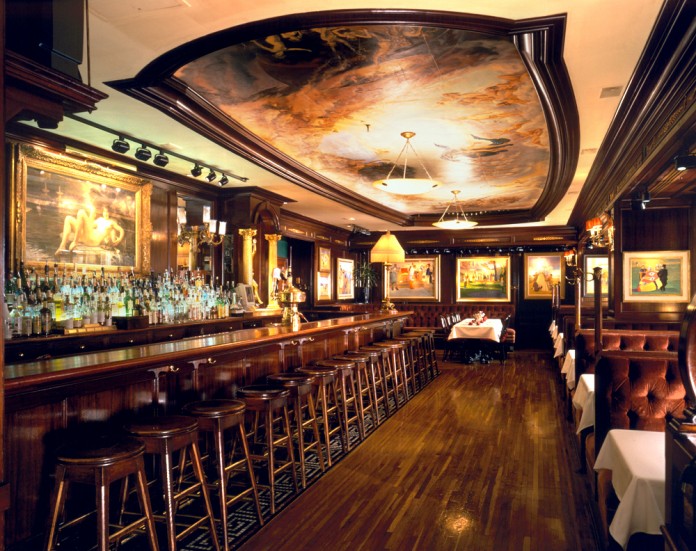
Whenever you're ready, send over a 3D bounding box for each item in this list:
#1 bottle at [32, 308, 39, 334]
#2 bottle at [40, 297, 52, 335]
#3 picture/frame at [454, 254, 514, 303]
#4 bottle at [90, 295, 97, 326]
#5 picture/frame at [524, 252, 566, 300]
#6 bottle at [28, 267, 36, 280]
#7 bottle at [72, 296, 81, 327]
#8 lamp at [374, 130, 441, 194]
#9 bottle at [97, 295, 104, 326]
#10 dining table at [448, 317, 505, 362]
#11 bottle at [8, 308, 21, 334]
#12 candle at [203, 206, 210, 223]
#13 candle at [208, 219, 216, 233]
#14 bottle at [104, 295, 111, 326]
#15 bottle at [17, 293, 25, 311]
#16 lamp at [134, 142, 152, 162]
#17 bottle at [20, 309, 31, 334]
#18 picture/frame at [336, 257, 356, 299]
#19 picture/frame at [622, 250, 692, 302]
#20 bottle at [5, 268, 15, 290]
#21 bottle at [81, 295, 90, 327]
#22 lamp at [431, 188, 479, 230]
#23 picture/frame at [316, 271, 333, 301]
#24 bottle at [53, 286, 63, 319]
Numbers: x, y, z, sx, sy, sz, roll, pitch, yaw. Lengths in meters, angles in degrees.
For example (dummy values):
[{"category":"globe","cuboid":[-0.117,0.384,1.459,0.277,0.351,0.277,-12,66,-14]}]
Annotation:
[{"category":"bottle","cuboid":[-2.978,0.469,5.134,0.067,0.165,0.050,0,2,-24]},{"category":"bottle","cuboid":[-2.968,0.383,5.298,0.097,0.356,0.402,-1,2,-28]},{"category":"picture/frame","cuboid":[3.585,0.001,14.434,0.091,1.254,1.686,-2,1,-43]},{"category":"bottle","cuboid":[-2.713,0.358,5.737,0.093,0.263,0.258,-1,2,-25]},{"category":"picture/frame","cuboid":[5.057,-0.034,13.775,1.414,1.605,0.141,1,-3,22]},{"category":"bottle","cuboid":[-3.312,-0.054,5.654,0.104,0.139,0.134,-1,2,-29]},{"category":"bottle","cuboid":[-2.808,0.354,5.573,0.090,0.310,0.294,-1,2,-27]},{"category":"lamp","cuboid":[0.714,-1.441,6.603,0.828,0.662,0.788,4,26,10]},{"category":"bottle","cuboid":[-2.652,0.356,5.790,0.093,0.303,0.141,0,2,-24]},{"category":"dining table","cuboid":[2.611,1.327,11.208,1.169,0.867,1.300,1,1,15]},{"category":"bottle","cuboid":[-3.092,0.420,5.018,0.103,0.234,0.232,-1,2,-29]},{"category":"candle","cuboid":[-1.840,-0.852,6.998,0.088,0.241,0.266,0,1,-13]},{"category":"candle","cuboid":[-1.767,-0.689,6.981,0.099,0.148,0.118,0,2,-18]},{"category":"bottle","cuboid":[-2.619,0.360,5.875,0.061,0.322,0.281,0,2,-22]},{"category":"bottle","cuboid":[-3.145,0.235,5.202,0.074,0.169,0.131,-1,2,-31]},{"category":"lamp","cuboid":[-2.403,-1.508,6.302,0.149,0.260,0.556,0,1,-21]},{"category":"bottle","cuboid":[-3.058,0.432,5.118,0.132,0.245,0.177,-1,2,-29]},{"category":"picture/frame","cuboid":[-0.045,0.046,14.750,0.148,1.133,1.386,-1,0,-19]},{"category":"picture/frame","cuboid":[4.365,-0.007,7.585,0.870,0.698,0.053,1,-9,7]},{"category":"bottle","cuboid":[-3.331,0.022,5.320,0.085,0.222,0.376,-1,2,-32]},{"category":"bottle","cuboid":[-2.752,0.344,5.655,0.093,0.299,0.257,-1,2,-26]},{"category":"lamp","cuboid":[2.111,-1.389,10.601,0.929,0.597,0.865,-17,21,-31]},{"category":"picture/frame","cuboid":[-0.613,0.213,13.167,0.088,0.624,0.800,-3,-6,21]},{"category":"bottle","cuboid":[-2.986,0.306,5.576,0.108,0.260,0.138,0,2,-22]}]
